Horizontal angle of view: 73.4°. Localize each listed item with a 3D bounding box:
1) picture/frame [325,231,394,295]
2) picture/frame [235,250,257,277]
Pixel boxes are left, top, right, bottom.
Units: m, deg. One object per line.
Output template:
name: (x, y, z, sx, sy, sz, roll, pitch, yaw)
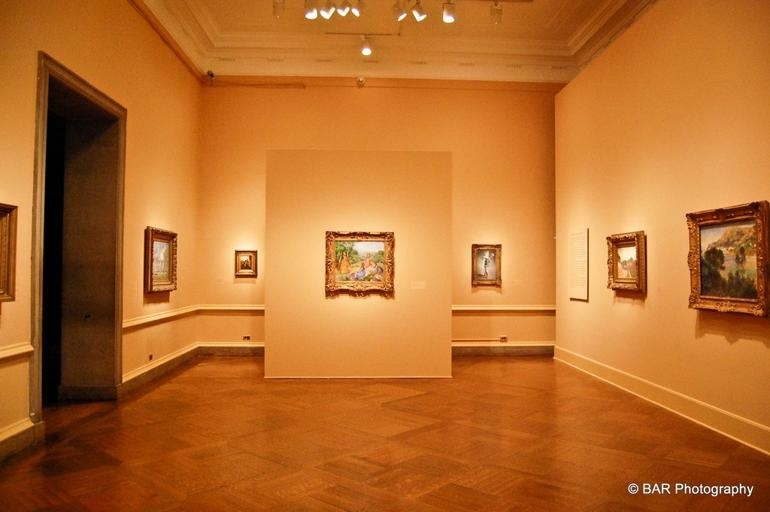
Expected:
picture/frame: (-0.519, 0.173, 10.396, 1.264, 1.140, 0.124, 0, -2, 3)
picture/frame: (-3.486, 0.194, 12.823, 0.647, 0.788, 0.084, 0, -1, -8)
